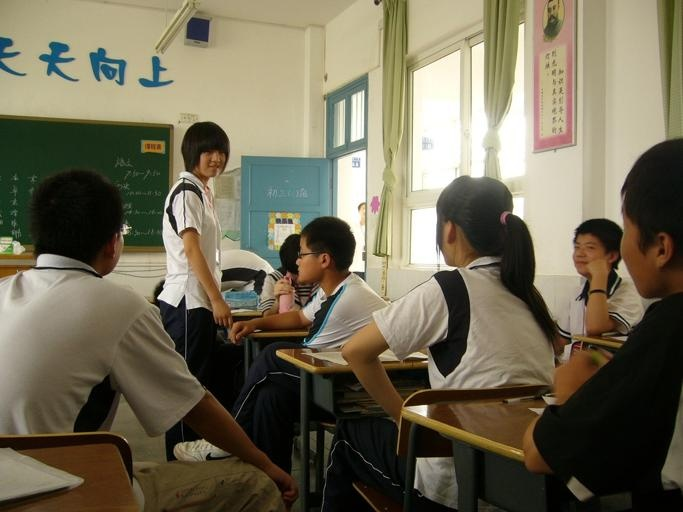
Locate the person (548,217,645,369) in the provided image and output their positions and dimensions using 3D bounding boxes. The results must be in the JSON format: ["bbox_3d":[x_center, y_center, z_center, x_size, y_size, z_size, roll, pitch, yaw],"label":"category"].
[{"bbox_3d":[1.256,0.217,2.763,0.441,0.742,0.477,4,2,25],"label":"person"}]

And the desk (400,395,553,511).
[{"bbox_3d":[0.276,0.334,1.167,0.228,0.227,0.282,-5,7,-42],"label":"desk"}]

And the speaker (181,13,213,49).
[{"bbox_3d":[-1.556,-2.436,6.009,0.300,0.317,0.113,-3,6,-19],"label":"speaker"}]

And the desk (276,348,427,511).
[{"bbox_3d":[0.011,0.440,2.012,0.566,0.602,0.600,3,-3,-32],"label":"desk"}]

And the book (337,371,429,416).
[{"bbox_3d":[0.111,0.421,1.873,0.206,0.102,0.172,0,-1,-24],"label":"book"}]
